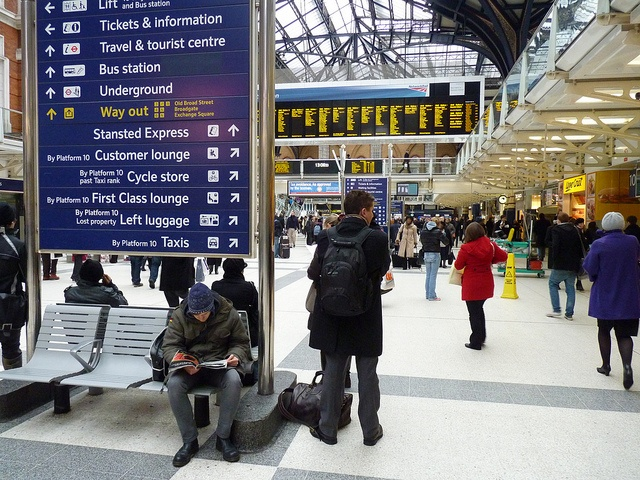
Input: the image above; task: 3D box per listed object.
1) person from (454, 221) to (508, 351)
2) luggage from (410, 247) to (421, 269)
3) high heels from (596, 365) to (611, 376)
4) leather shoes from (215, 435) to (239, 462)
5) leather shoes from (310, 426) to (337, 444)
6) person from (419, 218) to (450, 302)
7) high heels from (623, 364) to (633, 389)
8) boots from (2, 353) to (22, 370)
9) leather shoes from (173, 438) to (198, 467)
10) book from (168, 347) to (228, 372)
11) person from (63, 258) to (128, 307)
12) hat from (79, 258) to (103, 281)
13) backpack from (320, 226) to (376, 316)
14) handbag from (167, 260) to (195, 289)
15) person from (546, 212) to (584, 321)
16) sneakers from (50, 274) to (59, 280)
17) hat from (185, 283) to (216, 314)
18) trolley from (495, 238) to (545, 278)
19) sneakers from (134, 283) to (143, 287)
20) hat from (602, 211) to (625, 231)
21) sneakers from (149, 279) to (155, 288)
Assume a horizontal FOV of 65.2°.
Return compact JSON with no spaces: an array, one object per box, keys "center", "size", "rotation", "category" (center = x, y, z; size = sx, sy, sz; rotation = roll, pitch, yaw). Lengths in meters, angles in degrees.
[{"center":[2.326,0.653,7.356],"size":[0.678,1.844,0.461],"rotation":[-3,7,-25],"category":"person"},{"center":[3.318,0.643,17.562],"size":[0.471,0.753,0.804],"rotation":[-1,1,14],"category":"luggage"},{"center":[3.606,1.644,6.376],"size":[0.088,0.132,0.185],"rotation":[-4,6,-28],"category":"high heels"},{"center":[-0.844,1.914,4.585],"size":[0.109,0.179,0.284],"rotation":[1,-6,-39],"category":"leather shoes"},{"center":[0.033,1.887,4.894],"size":[0.256,0.120,0.103],"rotation":[7,4,38],"category":"leather shoes"},{"center":[2.500,0.460,11.094],"size":[0.552,1.736,1.077],"rotation":[1,7,12],"category":"person"},{"center":[3.596,1.603,5.904],"size":[0.101,0.303,0.128],"rotation":[-7,1,27],"category":"high heels"},{"center":[-3.573,1.420,5.869],"size":[0.195,0.221,0.214],"rotation":[4,-2,-14],"category":"boots"},{"center":[-1.216,1.920,4.497],"size":[0.096,0.120,0.275],"rotation":[2,-6,10],"category":"leather shoes"},{"center":[-1.154,1.160,4.743],"size":[0.530,0.221,0.283],"rotation":[-2,7,-13],"category":"book"},{"center":[-2.692,0.597,5.999],"size":[0.746,0.689,0.422],"rotation":[1,-4,0],"category":"person"},{"center":[-2.697,0.369,5.879],"size":[0.267,0.283,0.239],"rotation":[-3,7,-25],"category":"hat"},{"center":[0.232,0.284,4.657],"size":[0.508,0.782,0.450],"rotation":[3,11,20],"category":"backpack"},{"center":[-2.220,0.537,7.839],"size":[0.421,0.514,0.267],"rotation":[1,-5,-6],"category":"handbag"},{"center":[4.437,0.479,9.032],"size":[0.561,1.915,0.725],"rotation":[3,8,27],"category":"person"},{"center":[-6.922,0.952,13.003],"size":[0.203,0.197,0.092],"rotation":[-2,7,-28],"category":"sneakers"},{"center":[-1.128,0.536,4.862],"size":[0.252,0.276,0.282],"rotation":[-7,30,2],"category":"hat"},{"center":[6.013,0.634,15.334],"size":[1.379,0.930,0.847],"rotation":[-10,-13,-33],"category":"trolley"},{"center":[-4.491,1.092,12.320],"size":[0.075,0.090,0.195],"rotation":[6,11,22],"category":"sneakers"},{"center":[3.728,-0.253,6.385],"size":[0.218,0.266,0.280],"rotation":[4,12,8],"category":"hat"},{"center":[-3.998,1.045,11.878],"size":[0.088,0.245,0.096],"rotation":[6,27,0],"category":"sneakers"}]
